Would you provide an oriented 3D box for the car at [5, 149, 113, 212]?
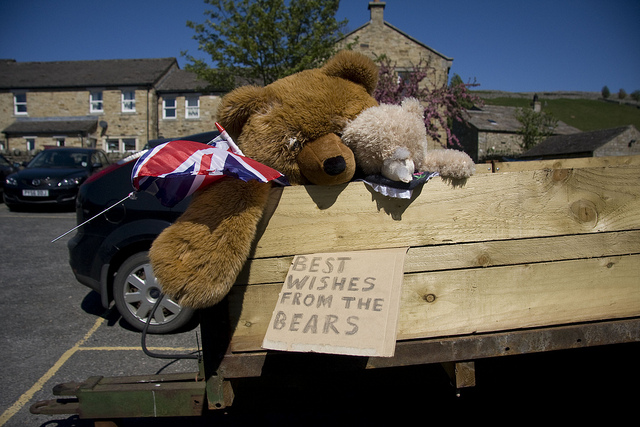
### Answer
[{"bbox_3d":[-6.048,-0.833,16.057,1.923,1.436,3.255,-1,2,3],"label":"car"}]

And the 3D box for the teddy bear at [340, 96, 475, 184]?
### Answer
[{"bbox_3d":[0.917,-0.728,6.819,1.455,0.724,0.795,18,32,17],"label":"teddy bear"}]
